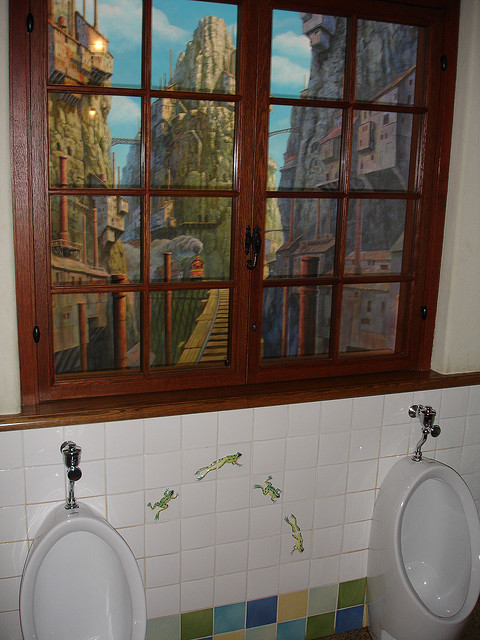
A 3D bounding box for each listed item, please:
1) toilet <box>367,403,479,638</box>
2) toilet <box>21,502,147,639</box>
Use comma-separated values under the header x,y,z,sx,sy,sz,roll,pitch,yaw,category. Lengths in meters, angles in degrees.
x,y,z,sx,sy,sz,roll,pitch,yaw,category
0.610,0.773,1.880,0.359,0.616,0.289,-4,5,3,toilet
-0.421,0.707,1.556,0.302,0.394,0.231,-5,5,-14,toilet
